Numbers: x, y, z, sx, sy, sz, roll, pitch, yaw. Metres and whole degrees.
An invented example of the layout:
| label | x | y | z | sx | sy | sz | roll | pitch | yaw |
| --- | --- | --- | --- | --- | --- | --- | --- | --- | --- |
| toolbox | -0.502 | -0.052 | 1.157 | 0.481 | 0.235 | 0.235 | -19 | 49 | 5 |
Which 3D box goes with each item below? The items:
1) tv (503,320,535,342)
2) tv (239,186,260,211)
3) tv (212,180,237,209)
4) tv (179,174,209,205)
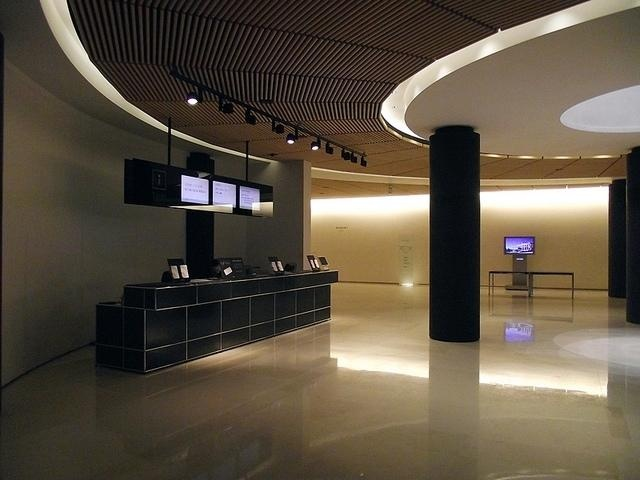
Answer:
| label | x | y | z | sx | sy | sz | roll | pitch | yaw |
| --- | --- | --- | --- | --- | --- | --- | --- | --- | --- |
| tv | 3.813 | 1.756 | 8.752 | 0.511 | 0.078 | 2.067 | 1 | 3 | 24 |
| tv | -1.436 | -0.846 | 9.211 | 0.052 | 0.368 | 0.522 | -2 | -4 | 28 |
| tv | -1.836 | -0.877 | 8.702 | 0.054 | 0.393 | 0.546 | -2 | -3 | 31 |
| tv | -2.216 | -0.894 | 8.109 | 0.067 | 0.487 | 0.696 | 1 | 3 | 24 |
